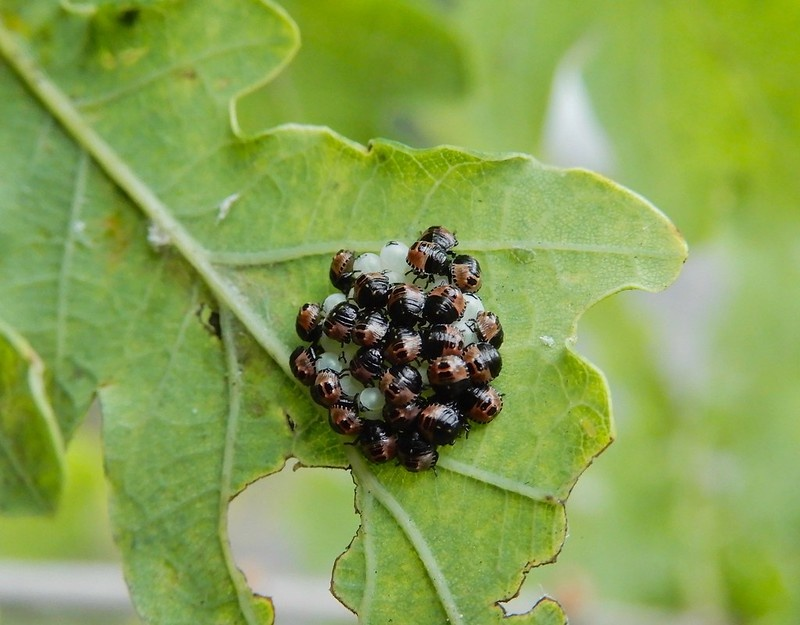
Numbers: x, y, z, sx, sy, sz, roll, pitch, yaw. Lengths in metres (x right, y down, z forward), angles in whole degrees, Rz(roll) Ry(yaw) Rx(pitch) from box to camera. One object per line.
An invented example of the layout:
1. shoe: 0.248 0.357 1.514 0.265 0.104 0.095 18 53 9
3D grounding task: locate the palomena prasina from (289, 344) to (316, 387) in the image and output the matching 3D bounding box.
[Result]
1. palomena prasina: -0.416 0.234 4.411 0.127 0.166 0.046 16 13 39
